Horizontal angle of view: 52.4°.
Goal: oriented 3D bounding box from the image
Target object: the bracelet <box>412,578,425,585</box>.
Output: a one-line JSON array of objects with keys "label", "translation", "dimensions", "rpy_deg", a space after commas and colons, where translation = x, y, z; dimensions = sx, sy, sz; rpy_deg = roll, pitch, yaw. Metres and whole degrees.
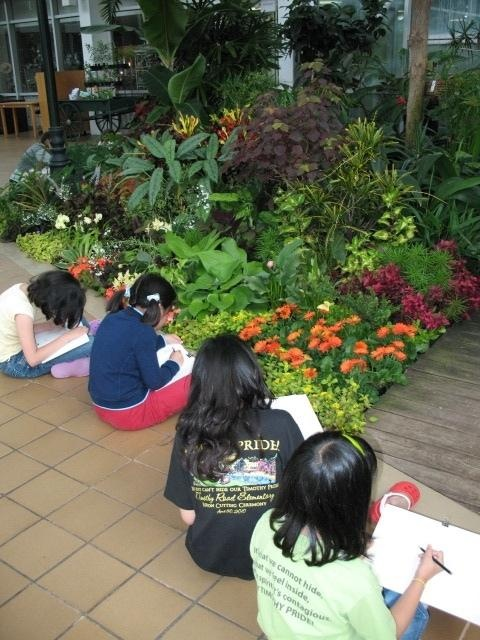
[{"label": "bracelet", "translation": [0.421, 0.616, 1.152], "dimensions": [0.015, 0.004, 0.014], "rpy_deg": [-3, 30, 28]}]

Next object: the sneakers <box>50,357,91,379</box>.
[{"label": "sneakers", "translation": [-1.123, 0.323, 3.246], "dimensions": [0.267, 0.072, 0.176], "rpy_deg": [-1, -1, 41]}]
